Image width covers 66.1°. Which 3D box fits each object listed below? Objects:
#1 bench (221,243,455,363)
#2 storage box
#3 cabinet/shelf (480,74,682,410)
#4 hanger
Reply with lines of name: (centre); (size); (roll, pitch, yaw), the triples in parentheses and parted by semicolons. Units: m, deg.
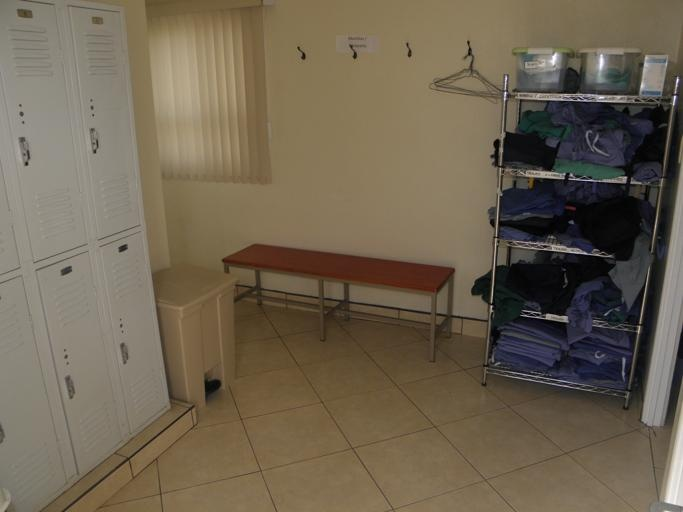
bench: (-0.051, 0.366, 4.679); (1.947, 0.659, 0.614); (7, 18, 22)
storage box: (1.487, -1.179, 3.339); (0.734, 0.272, 0.292); (11, 23, 25)
cabinet/shelf: (1.596, -0.113, 3.642); (1.118, 2.161, 0.691); (6, 22, 16)
hanger: (0.993, -1.394, 4.087); (0.554, 0.306, 0.198); (13, 22, 16)
